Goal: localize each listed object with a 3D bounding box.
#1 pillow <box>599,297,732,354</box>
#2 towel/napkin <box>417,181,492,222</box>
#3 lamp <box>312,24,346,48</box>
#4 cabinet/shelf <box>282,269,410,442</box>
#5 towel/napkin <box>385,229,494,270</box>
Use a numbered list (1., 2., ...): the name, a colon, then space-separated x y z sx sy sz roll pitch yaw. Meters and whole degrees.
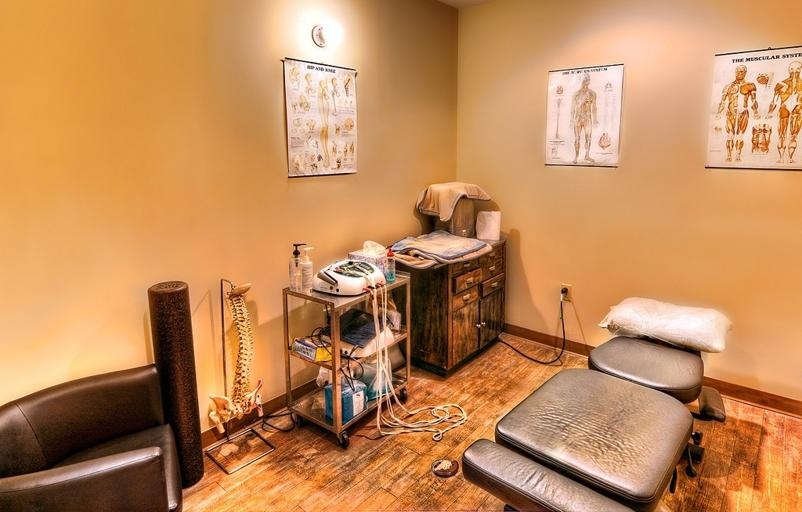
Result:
1. pillow: 1.889 0.480 3.785 0.548 0.171 0.497 6 14 34
2. towel/napkin: 0.462 -0.509 4.629 0.486 0.143 0.362 -11 15 -37
3. lamp: -0.522 -1.586 3.835 0.042 0.177 0.279 14 22 40
4. cabinet/shelf: -0.375 0.666 3.947 0.686 0.985 1.002 12 21 37
5. towel/napkin: 0.299 -0.059 4.307 0.829 0.141 0.493 -13 20 -37
